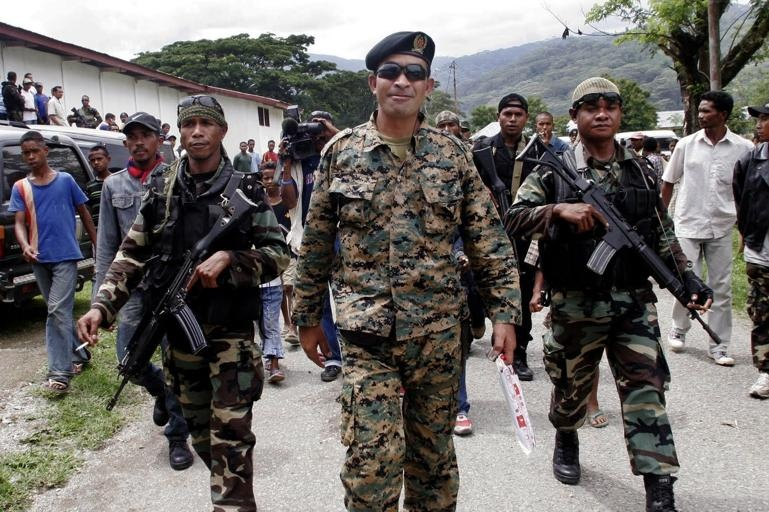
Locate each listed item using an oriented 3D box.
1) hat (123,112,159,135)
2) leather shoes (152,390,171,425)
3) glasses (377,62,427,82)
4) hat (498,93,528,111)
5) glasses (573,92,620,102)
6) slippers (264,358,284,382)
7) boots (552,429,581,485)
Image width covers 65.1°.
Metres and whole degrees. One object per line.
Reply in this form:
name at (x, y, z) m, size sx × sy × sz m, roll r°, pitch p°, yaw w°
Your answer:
hat at (-2.143, -1.199, 5.374) m, size 0.214 × 0.133 × 0.272 m, roll -7°, pitch -18°, yaw 0°
leather shoes at (-1.979, 1.373, 5.329) m, size 0.150 × 0.392 × 0.170 m, roll -4°, pitch -37°, yaw -11°
glasses at (0.104, -1.139, 3.708) m, size 0.182 × 0.048 × 0.174 m, roll 1°, pitch -18°, yaw -4°
hat at (1.287, -1.558, 6.146) m, size 0.214 × 0.151 × 0.238 m, roll -1°, pitch 11°, yaw 2°
glasses at (1.569, -1.177, 4.476) m, size 0.331 × 0.079 × 0.106 m, roll -1°, pitch 12°, yaw 14°
slippers at (-1.232, 1.276, 6.653) m, size 0.149 × 0.251 × 0.378 m, roll 3°, pitch -25°, yaw -22°
boots at (1.401, 1.565, 4.666) m, size 0.166 × 0.217 × 0.469 m, roll 0°, pitch 2°, yaw 8°
